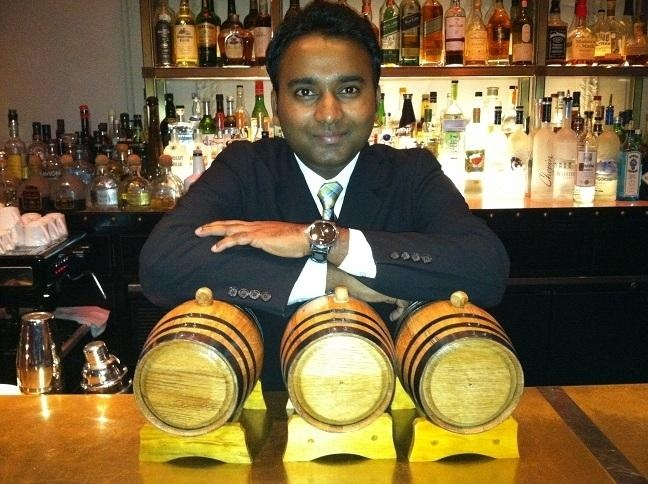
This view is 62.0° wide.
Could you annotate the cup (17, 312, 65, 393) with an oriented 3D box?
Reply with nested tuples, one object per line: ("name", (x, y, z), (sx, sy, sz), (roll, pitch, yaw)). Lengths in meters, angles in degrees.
("cup", (-0.807, 0.315, 1.505), (0.123, 0.227, 0.100), (6, 11, 37))

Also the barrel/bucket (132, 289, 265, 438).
("barrel/bucket", (-0.202, 0.222, 1.094), (0.238, 0.234, 0.313), (-4, 12, 3))

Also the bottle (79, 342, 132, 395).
("bottle", (-0.618, 0.363, 1.489), (0.130, 0.149, 0.155), (-3, 9, -12))

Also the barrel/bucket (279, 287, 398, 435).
("barrel/bucket", (0.036, 0.223, 1.084), (0.196, 0.236, 0.230), (-5, 7, 5))

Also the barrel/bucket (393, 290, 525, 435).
("barrel/bucket", (0.248, 0.240, 1.047), (0.180, 0.182, 0.246), (-22, 10, 7))

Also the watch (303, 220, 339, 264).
("watch", (-0.006, -0.004, 1.365), (0.073, 0.096, 0.091), (4, -23, 0))
